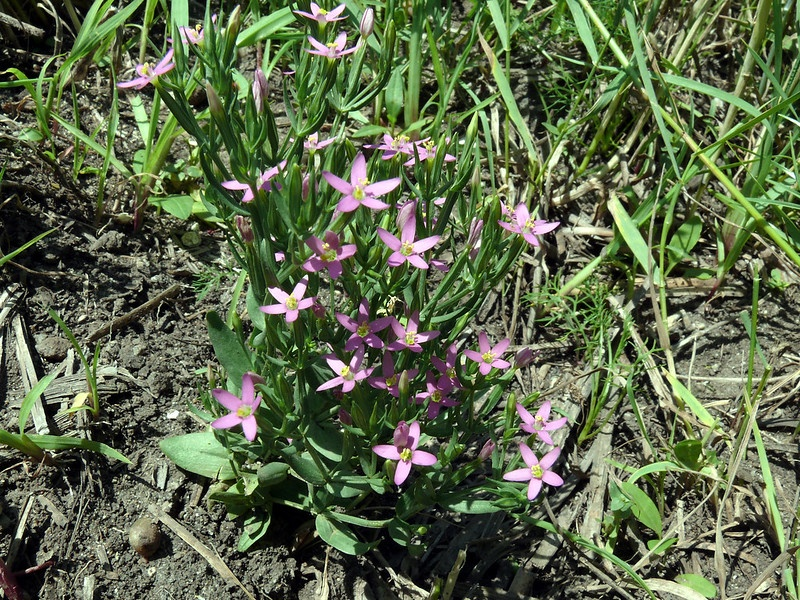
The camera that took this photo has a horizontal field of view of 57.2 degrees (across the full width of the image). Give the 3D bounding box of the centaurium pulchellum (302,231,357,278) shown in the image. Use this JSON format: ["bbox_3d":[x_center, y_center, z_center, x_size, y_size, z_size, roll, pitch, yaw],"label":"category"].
[{"bbox_3d":[-0.208,-0.170,2.345,0.137,0.147,0.086,2,69,-29],"label":"centaurium pulchellum"}]

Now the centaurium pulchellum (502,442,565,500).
[{"bbox_3d":[0.487,0.603,2.519,0.043,0.204,0.214,-16,107,-33],"label":"centaurium pulchellum"}]

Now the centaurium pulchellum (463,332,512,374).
[{"bbox_3d":[0.308,0.204,2.596,0.168,0.196,0.133,2,63,-5],"label":"centaurium pulchellum"}]

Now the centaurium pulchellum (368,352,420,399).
[{"bbox_3d":[-0.024,0.273,2.572,0.150,0.079,0.178,-7,98,-25],"label":"centaurium pulchellum"}]

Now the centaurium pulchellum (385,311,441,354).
[{"bbox_3d":[0.028,0.103,2.514,0.130,0.151,0.039,25,62,-29],"label":"centaurium pulchellum"}]

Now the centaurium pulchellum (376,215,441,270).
[{"bbox_3d":[0.020,-0.172,2.346,0.164,0.062,0.176,-26,78,-10],"label":"centaurium pulchellum"}]

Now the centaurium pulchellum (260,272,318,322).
[{"bbox_3d":[-0.350,0.031,2.355,0.159,0.187,0.072,-5,106,3],"label":"centaurium pulchellum"}]

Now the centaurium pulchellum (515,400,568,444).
[{"bbox_3d":[0.476,0.455,2.585,0.126,0.163,0.094,-29,109,-46],"label":"centaurium pulchellum"}]

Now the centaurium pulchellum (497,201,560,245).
[{"bbox_3d":[0.436,-0.256,2.525,0.164,0.051,0.184,16,41,-8],"label":"centaurium pulchellum"}]

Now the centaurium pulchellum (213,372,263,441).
[{"bbox_3d":[-0.476,0.351,2.307,0.171,0.093,0.205,-11,57,-21],"label":"centaurium pulchellum"}]
